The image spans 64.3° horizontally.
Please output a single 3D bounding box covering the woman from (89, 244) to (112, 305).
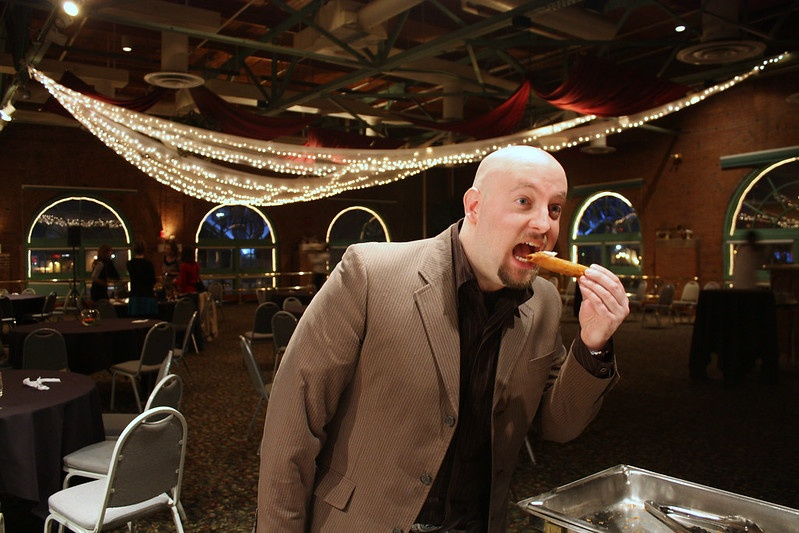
[{"bbox_3d":[-5.471,0.118,11.690,0.410,1.100,0.786,-6,14,-25],"label":"woman"}]

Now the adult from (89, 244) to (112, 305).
[{"bbox_3d":[-5.471,0.118,11.690,0.410,1.100,0.786,-6,14,-25],"label":"adult"}]

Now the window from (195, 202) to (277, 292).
[{"bbox_3d":[-4.789,-0.607,18.198,2.366,2.941,0.122,-1,5,-35],"label":"window"}]

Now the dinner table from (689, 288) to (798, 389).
[{"bbox_3d":[4.634,1.027,8.967,1.227,1.623,1.211,0,-7,2],"label":"dinner table"}]

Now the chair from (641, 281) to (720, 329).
[{"bbox_3d":[5.531,0.766,12.569,0.819,1.245,0.634,18,-14,-32],"label":"chair"}]

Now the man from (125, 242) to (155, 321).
[{"bbox_3d":[-3.942,0.311,9.682,0.409,1.008,0.275,-6,13,-24],"label":"man"}]

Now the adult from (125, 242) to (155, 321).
[{"bbox_3d":[-3.942,0.311,9.682,0.409,1.008,0.275,-6,13,-24],"label":"adult"}]
